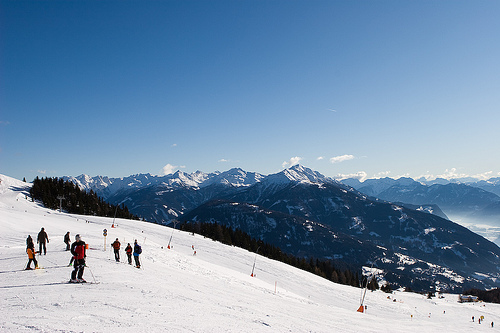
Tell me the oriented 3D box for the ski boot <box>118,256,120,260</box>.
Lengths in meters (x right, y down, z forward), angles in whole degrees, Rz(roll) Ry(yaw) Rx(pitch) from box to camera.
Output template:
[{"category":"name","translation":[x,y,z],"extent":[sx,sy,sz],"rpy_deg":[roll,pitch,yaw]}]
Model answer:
[{"category":"ski boot","translation":[-22.102,15.294,61.976],"extent":[0.366,0.376,0.672],"rpy_deg":[-23,-2,-26]}]
